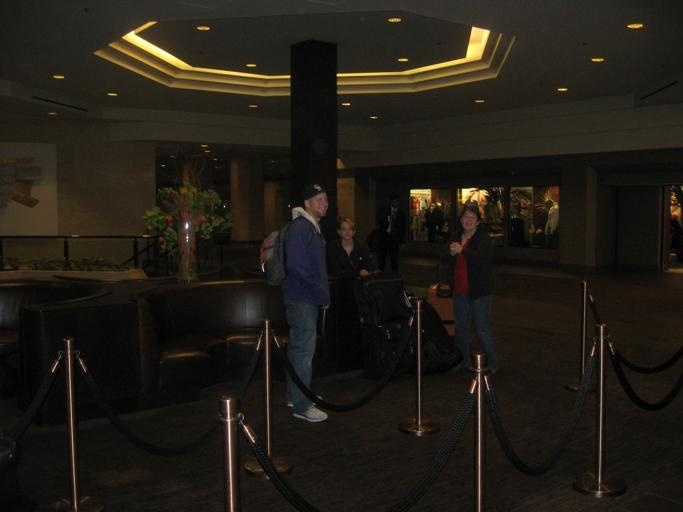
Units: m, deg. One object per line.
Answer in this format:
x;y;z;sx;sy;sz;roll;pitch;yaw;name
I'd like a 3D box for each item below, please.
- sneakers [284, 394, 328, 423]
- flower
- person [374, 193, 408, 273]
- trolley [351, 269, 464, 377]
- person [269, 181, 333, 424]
-0.384;1.455;5.134;0.510;0.211;0.180;0;11;9;sneakers
-2.093;-0.428;7.244;1.134;1.371;1.090;1;11;26;flower
1.317;-0.576;14.745;0.752;1.963;0.804;0;5;5;person
0.851;0.744;6.234;1.276;1.316;0.900;-1;3;10;trolley
-0.352;0.428;5.129;0.446;2.190;0.480;-1;4;-5;person
